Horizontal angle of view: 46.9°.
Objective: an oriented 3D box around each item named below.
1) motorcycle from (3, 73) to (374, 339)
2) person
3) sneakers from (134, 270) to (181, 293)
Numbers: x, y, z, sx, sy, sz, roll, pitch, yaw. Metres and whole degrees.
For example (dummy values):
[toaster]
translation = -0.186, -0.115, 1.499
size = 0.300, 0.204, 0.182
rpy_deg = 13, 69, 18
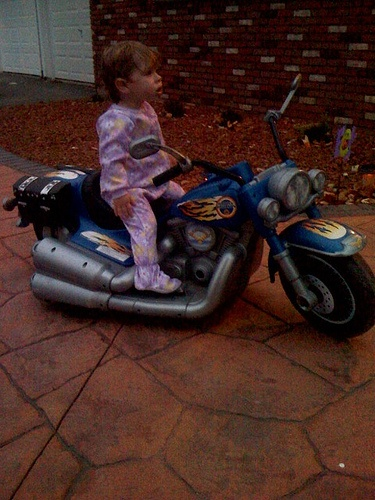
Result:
[motorcycle]
translation = -0.052, -0.243, 2.424
size = 2.099, 1.094, 1.038
rpy_deg = 11, 38, 24
[person]
translation = -0.241, -0.368, 2.115
size = 0.444, 1.221, 0.621
rpy_deg = -1, 23, -1
[sneakers]
translation = -0.133, 0.162, 2.201
size = 0.274, 0.106, 0.089
rpy_deg = 5, 34, -28
